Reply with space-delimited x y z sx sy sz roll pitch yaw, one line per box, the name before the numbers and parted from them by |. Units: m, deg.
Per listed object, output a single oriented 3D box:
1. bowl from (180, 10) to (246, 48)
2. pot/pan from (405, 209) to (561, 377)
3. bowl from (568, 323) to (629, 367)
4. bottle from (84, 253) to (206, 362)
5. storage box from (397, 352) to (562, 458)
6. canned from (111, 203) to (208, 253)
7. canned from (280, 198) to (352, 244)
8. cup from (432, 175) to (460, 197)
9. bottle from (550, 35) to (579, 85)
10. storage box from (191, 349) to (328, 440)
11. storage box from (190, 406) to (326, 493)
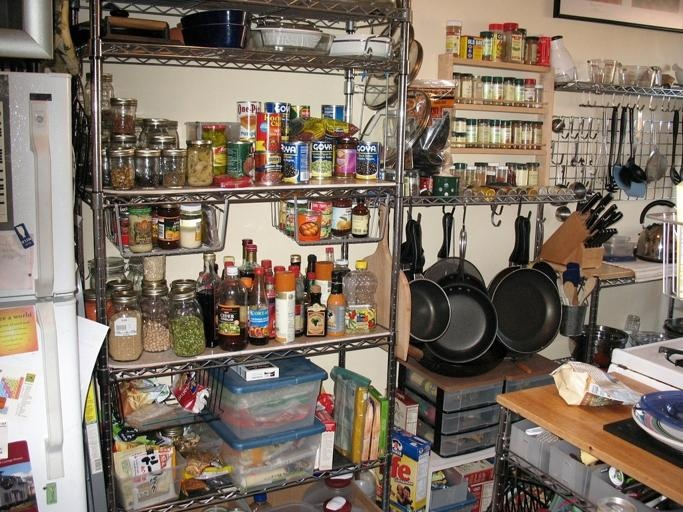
bowl | -0.442 -0.753 1.853 0.145 0.070 0.184 17 22 40
pot/pan | 0.757 0.214 2.580 0.610 0.879 0.132 -2 3 -26
bowl | 1.417 0.456 2.954 0.290 0.202 0.250 -8 18 -37
bottle | -0.701 0.191 1.901 0.361 0.260 0.119 -3 9 -18
storage box | 0.635 0.498 2.581 0.749 0.433 0.424 -8 15 -27
canned | -0.629 -0.101 1.882 0.271 0.166 0.090 -5 8 -15
canned | -0.112 -0.195 2.145 0.257 0.133 0.177 -3 11 -21
cup | 0.458 -0.308 2.362 0.123 0.094 0.079 -3 8 2
bottle | 1.200 -1.068 2.897 0.145 0.247 0.126 -1 8 15
storage box | -0.299 0.512 2.111 0.376 0.199 0.314 -5 14 -32
storage box | -0.283 0.770 2.146 0.377 0.171 0.286 -6 12 -29
